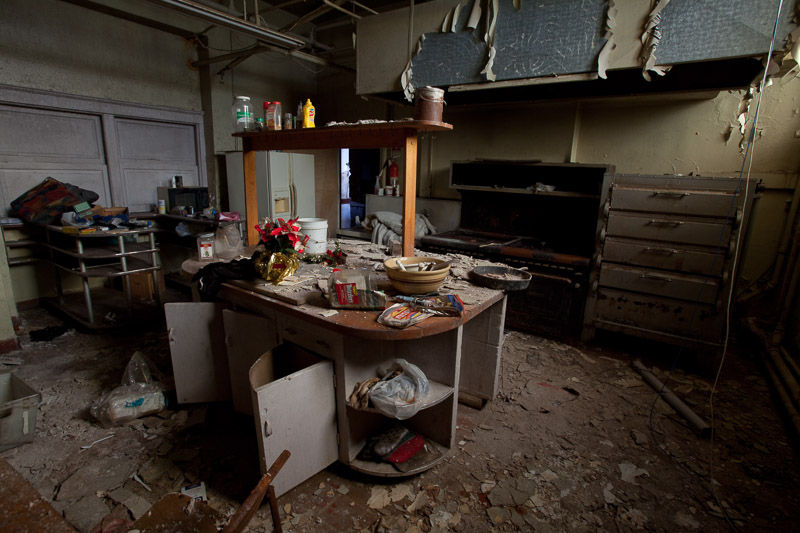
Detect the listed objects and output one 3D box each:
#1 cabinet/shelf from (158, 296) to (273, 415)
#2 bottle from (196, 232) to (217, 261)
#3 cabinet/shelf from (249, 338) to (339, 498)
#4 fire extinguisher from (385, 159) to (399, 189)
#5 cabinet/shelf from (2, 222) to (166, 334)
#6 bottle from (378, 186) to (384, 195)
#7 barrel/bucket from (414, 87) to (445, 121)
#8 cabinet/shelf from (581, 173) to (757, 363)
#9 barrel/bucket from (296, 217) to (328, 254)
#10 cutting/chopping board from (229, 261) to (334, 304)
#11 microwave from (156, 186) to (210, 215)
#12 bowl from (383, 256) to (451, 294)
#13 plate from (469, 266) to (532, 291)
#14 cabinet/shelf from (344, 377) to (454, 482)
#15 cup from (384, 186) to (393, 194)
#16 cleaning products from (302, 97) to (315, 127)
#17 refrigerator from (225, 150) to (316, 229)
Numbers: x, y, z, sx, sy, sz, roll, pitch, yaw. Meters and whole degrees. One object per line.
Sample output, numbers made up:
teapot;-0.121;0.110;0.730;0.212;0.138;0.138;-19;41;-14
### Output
cabinet/shelf;-1.558;0.730;4.675;0.857;0.959;1.013;3;18;-2
bottle;-1.821;-0.191;4.765;0.134;0.227;0.187;-3;14;-15
cabinet/shelf;-0.830;1.160;3.938;0.624;0.970;0.479;-6;16;-25
fire extinguisher;-0.093;-1.345;7.289;0.181;0.403;0.218;0;14;-3
cabinet/shelf;-3.616;-0.005;6.104;1.752;1.088;1.038;8;15;27
bottle;-0.268;-1.100;7.315;0.100;0.093;0.100;0;2;16
barrel/bucket;0.280;-1.365;4.330;0.281;0.299;0.278;0;10;0
cabinet/shelf;2.841;-0.094;5.934;1.744;2.529;1.754;7;7;32
barrel/bucket;-0.770;-0.289;4.732;0.309;0.328;0.307;0;9;0
cutting/chopping board;-0.879;0.137;4.286;0.712;0.157;0.743;13;17;41
microwave;-2.964;-0.948;7.002;0.412;0.416;0.620;8;12;36
bowl;0.136;0.070;4.170;0.527;0.245;0.384;1;13;1
plate;0.854;0.100;4.398;0.506;0.157;0.376;3;13;8
cabinet/shelf;0.031;1.397;4.117;0.765;0.582;0.790;6;10;32
cup;-0.156;-1.083;7.229;0.118;0.127;0.107;3;14;8
cleaning products;-0.869;-1.456;4.810;0.113;0.287;0.377;-2;14;-10
refrigerator;-1.843;-1.174;7.367;1.280;0.976;0.747;-2;14;-14
